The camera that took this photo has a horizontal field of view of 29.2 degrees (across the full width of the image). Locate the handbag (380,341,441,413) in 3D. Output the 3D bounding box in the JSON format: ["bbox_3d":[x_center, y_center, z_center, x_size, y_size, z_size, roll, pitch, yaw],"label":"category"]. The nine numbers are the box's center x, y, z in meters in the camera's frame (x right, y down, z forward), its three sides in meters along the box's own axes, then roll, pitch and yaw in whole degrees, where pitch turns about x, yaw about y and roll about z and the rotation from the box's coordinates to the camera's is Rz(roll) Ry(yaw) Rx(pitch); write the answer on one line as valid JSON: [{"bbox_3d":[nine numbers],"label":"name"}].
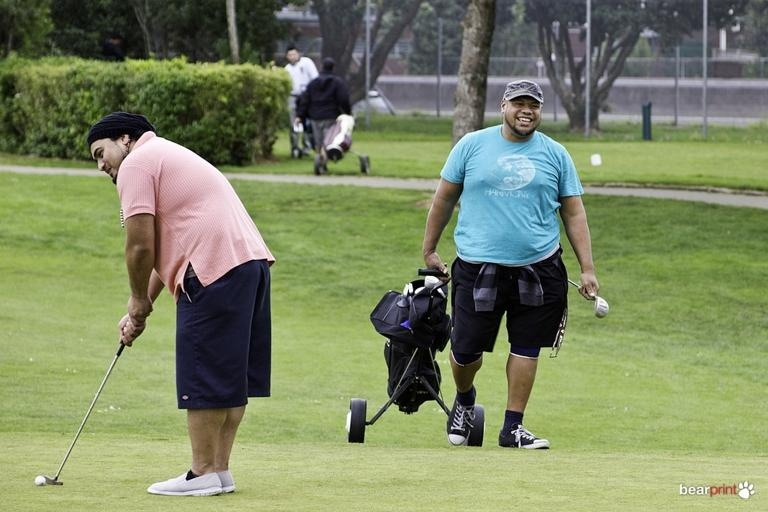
[{"bbox_3d":[0.289,1.301,15.763,0.714,0.936,0.659,1,6,-25],"label":"handbag"}]

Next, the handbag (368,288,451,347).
[{"bbox_3d":[0.283,0.625,15.766,0.741,0.549,0.574,8,-3,12],"label":"handbag"}]

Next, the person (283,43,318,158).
[{"bbox_3d":[-1.402,-2.647,24.157,0.683,1.673,0.500,-10,20,-7],"label":"person"}]

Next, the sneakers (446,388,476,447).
[{"bbox_3d":[0.813,1.758,15.684,0.224,0.674,0.265,5,-20,-3],"label":"sneakers"}]

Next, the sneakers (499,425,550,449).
[{"bbox_3d":[1.455,1.903,15.473,0.501,0.218,0.225,-1,-3,7],"label":"sneakers"}]

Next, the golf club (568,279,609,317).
[{"bbox_3d":[2.581,0.541,18.659,0.212,0.252,0.747,-28,39,-12],"label":"golf club"}]

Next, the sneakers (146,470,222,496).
[{"bbox_3d":[-1.908,2.165,14.165,0.692,0.237,0.266,1,-11,0],"label":"sneakers"}]

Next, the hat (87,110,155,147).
[{"bbox_3d":[-2.629,-1.244,14.567,0.592,0.250,0.505,-1,-10,-30],"label":"hat"}]

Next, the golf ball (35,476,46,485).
[{"bbox_3d":[-3.283,2.153,14.163,0.091,0.073,0.074,-2,2,-26],"label":"golf ball"}]
